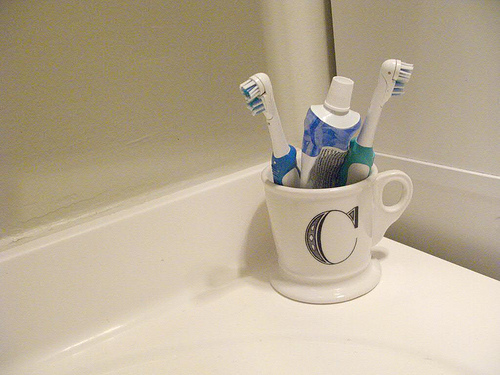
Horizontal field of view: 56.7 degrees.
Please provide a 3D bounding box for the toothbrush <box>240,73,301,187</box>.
[{"bbox_3d":[0.030,-0.079,0.645,0.076,0.162,0.074,-3,39,1],"label":"toothbrush"}]

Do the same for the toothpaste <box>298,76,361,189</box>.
[{"bbox_3d":[0.105,-0.070,0.641,0.096,0.152,0.062,-32,47,-30],"label":"toothpaste"}]

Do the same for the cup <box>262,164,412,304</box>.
[{"bbox_3d":[0.117,0.065,0.742,0.247,0.161,0.186,-4,11,5],"label":"cup"}]

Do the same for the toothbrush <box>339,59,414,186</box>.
[{"bbox_3d":[0.169,-0.055,0.650,0.083,0.244,0.061,15,15,25],"label":"toothbrush"}]
